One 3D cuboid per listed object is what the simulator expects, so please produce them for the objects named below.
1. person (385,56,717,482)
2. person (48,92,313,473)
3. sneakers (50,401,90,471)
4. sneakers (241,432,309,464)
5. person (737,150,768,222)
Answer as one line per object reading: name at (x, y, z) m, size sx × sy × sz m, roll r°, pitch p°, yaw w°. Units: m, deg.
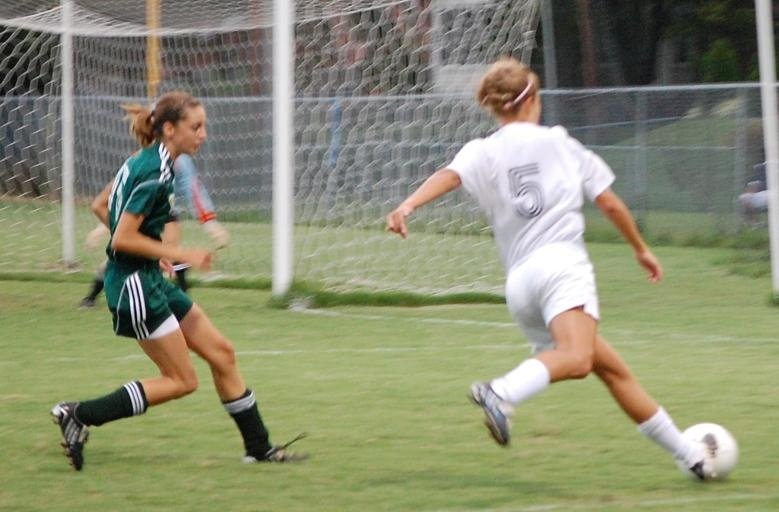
person at (0.906, -0.178, 5.662) m, size 1.440 × 1.954 × 0.904 m, roll -11°, pitch 18°, yaw -33°
person at (-1.459, 0.153, 6.025) m, size 1.395 × 2.322 × 0.749 m, roll -4°, pitch 15°, yaw -7°
sneakers at (-2.023, 1.127, 5.950) m, size 0.169 × 0.430 × 0.159 m, roll 11°, pitch 20°, yaw 40°
sneakers at (-0.729, 1.254, 6.165) m, size 0.505 × 0.163 × 0.139 m, roll -1°, pitch -1°, yaw -11°
person at (4.980, -0.883, 12.932) m, size 0.355 × 0.818 × 0.575 m, roll 3°, pitch 15°, yaw 17°
